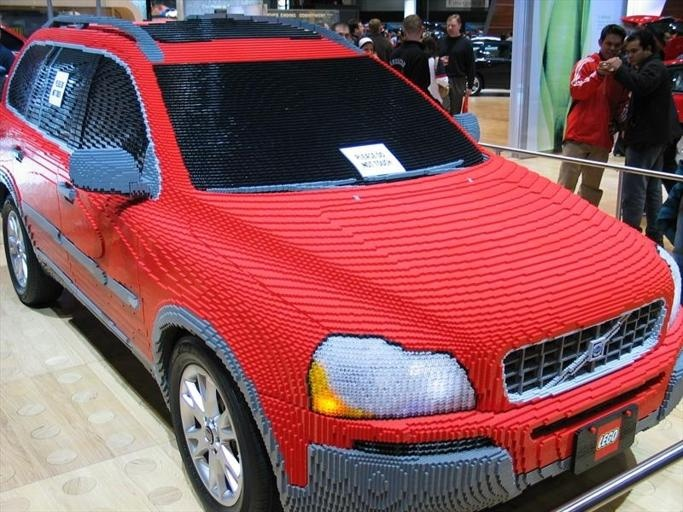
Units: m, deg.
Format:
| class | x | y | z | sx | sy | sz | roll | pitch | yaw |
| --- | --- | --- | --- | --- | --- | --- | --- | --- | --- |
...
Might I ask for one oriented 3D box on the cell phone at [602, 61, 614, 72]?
| class | x | y | z | sx | sy | sz | roll | pitch | yaw |
| --- | --- | --- | --- | --- | --- | --- | --- | --- | --- |
| cell phone | 2.644 | -1.890 | 5.354 | 0.076 | 0.103 | 0.037 | -7 | -5 | 17 |
